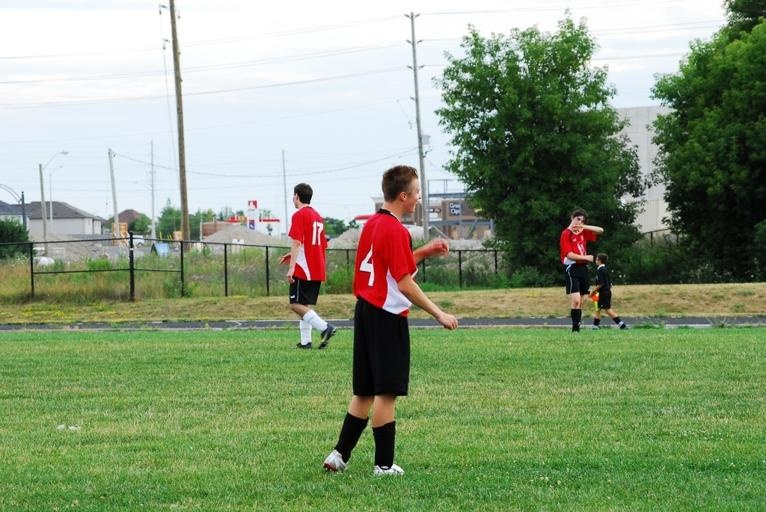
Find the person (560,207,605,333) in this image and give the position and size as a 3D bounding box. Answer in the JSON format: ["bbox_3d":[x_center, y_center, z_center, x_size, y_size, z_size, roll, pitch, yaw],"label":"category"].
[{"bbox_3d":[5.836,0.443,41.720,1.010,3.644,1.428,-2,0,14],"label":"person"}]

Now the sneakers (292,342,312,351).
[{"bbox_3d":[-2.273,2.548,38.846,0.451,0.191,0.181,3,1,36],"label":"sneakers"}]
